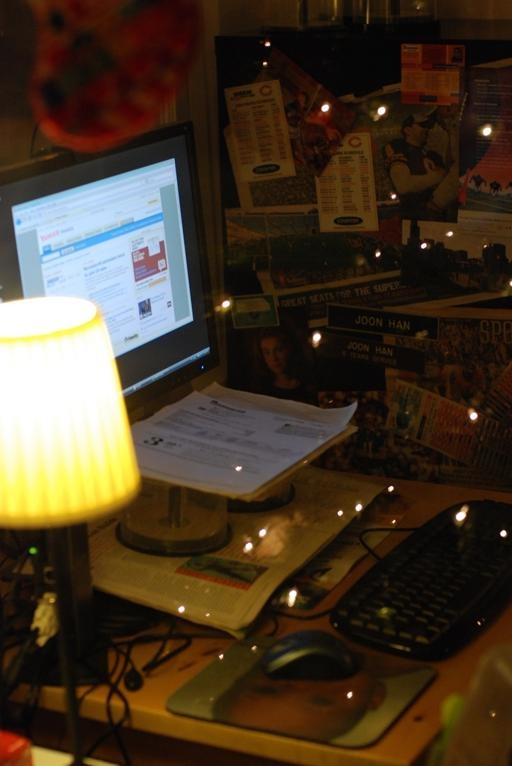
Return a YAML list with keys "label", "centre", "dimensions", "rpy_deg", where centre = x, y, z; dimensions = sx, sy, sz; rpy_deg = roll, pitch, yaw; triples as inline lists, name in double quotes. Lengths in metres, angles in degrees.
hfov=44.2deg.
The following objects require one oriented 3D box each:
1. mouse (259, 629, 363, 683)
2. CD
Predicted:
- label: "mouse"
  centre: [0.056, 0.247, 0.628]
  dimensions: [0.105, 0.030, 0.088]
  rpy_deg: [-1, 15, 6]
- label: "CD"
  centre: [-0.112, 0.181, 0.798]
  dimensions: [0.103, 0.023, 0.102]
  rpy_deg: [-5, 8, -43]
